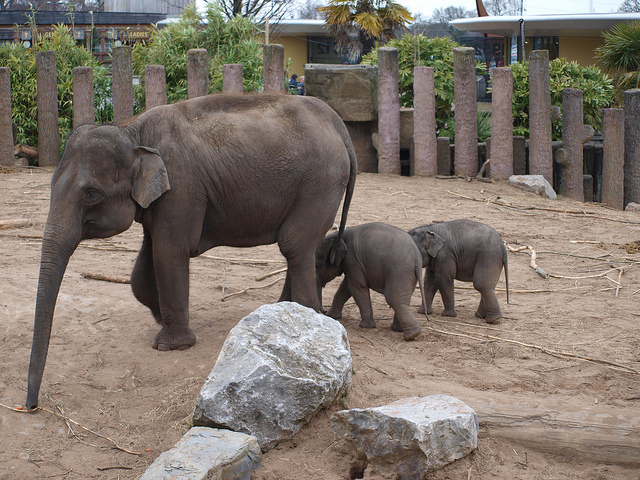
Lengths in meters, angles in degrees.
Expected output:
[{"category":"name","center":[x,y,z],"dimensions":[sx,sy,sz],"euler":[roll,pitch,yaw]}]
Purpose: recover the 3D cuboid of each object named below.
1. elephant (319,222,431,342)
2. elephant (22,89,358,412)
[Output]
[{"category":"elephant","center":[0.387,0.328,6.634],"dimensions":[1.214,0.906,0.544],"euler":[6,9,32]},{"category":"elephant","center":[-1.041,-0.033,6.390],"dimensions":[2.876,2.217,0.883],"euler":[-7,19,-26]}]
